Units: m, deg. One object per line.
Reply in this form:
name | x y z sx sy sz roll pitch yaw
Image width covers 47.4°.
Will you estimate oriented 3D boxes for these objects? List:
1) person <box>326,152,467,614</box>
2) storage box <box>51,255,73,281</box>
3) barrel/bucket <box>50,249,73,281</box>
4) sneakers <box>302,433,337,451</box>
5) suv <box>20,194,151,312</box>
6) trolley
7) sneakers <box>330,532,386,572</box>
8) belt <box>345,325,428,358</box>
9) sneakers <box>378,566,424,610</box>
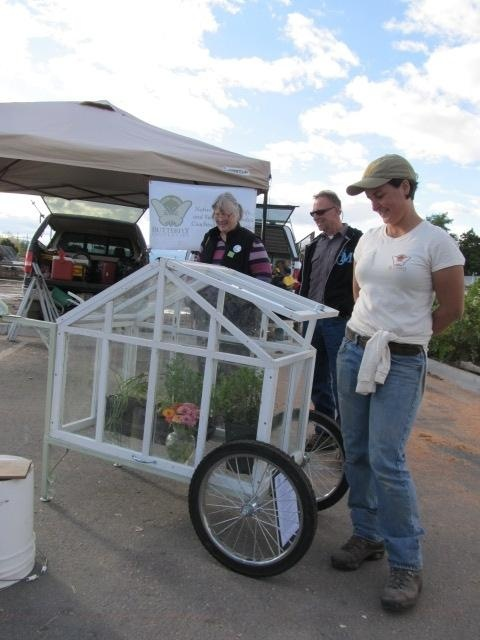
person | 0.682 0.247 2.472 0.434 1.919 0.651 2 7 -41
storage box | -2.554 -0.722 8.011 0.282 0.347 0.360 1 -4 -6
barrel/bucket | -2.555 -0.754 7.846 0.331 0.413 0.435 0 -1 -8
sneakers | 0.461 0.702 3.135 0.237 0.092 0.077 3 -1 9
suv | -2.640 -0.952 9.296 2.061 1.813 3.445 0 20 -5
trolley | -0.190 0.411 2.953 1.590 1.245 0.938 7 5 22
sneakers | 0.573 1.116 2.658 0.293 0.134 0.113 4 -4 -38
belt | 0.629 0.103 2.521 0.164 0.062 0.406 2 6 -36
sneakers | 0.674 1.121 2.289 0.095 0.106 0.237 -6 -9 19
